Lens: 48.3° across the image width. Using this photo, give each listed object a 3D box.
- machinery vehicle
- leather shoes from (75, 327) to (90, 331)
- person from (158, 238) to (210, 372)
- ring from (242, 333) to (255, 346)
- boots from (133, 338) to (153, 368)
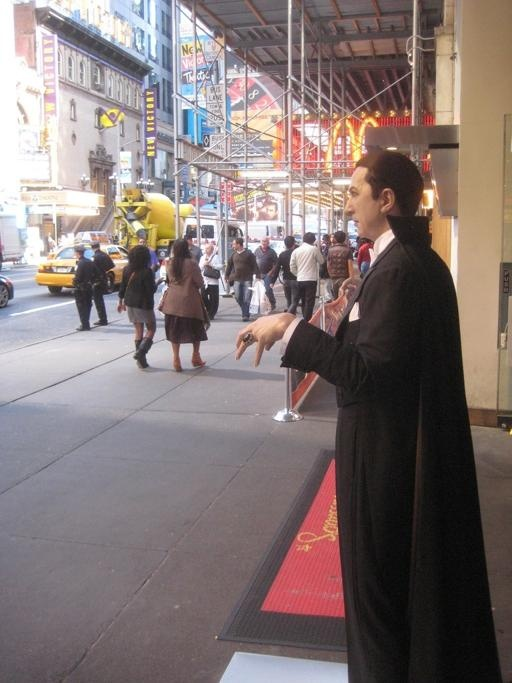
[{"bbox_3d":[-6.226,-5.879,30.081,2.058,3.292,6.771,-6,2,-8],"label":"machinery vehicle"},{"bbox_3d":[-4.087,-0.294,13.475,0.284,0.111,0.265,-5,10,-15],"label":"leather shoes"},{"bbox_3d":[-1.184,-0.591,9.343,0.758,2.127,0.650,-1,9,4],"label":"person"},{"bbox_3d":[-0.019,-0.001,1.666,0.028,0.028,0.007,6,10,44],"label":"ring"},{"bbox_3d":[-1.864,0.203,9.375,0.264,0.536,0.304,-5,10,-21],"label":"boots"}]
